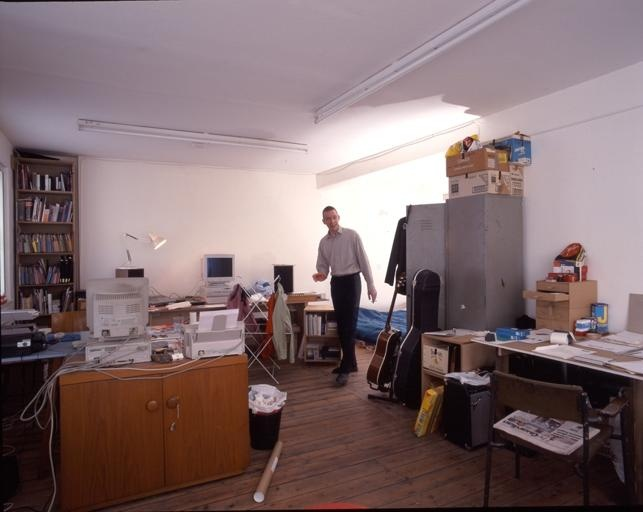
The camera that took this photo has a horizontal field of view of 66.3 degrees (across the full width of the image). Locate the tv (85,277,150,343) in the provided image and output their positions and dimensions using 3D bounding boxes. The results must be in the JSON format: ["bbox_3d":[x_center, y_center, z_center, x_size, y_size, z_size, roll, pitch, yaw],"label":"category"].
[{"bbox_3d":[-1.534,0.385,3.710,0.423,0.427,0.236,-1,5,-29],"label":"tv"}]

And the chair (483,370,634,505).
[{"bbox_3d":[1.665,1.239,3.512,1.040,0.942,0.878,1,9,8],"label":"chair"}]

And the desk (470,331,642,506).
[{"bbox_3d":[1.647,1.040,3.638,1.097,1.456,0.958,1,4,44],"label":"desk"}]

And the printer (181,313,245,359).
[{"bbox_3d":[-0.813,0.603,3.723,0.374,0.300,0.367,-1,2,-20],"label":"printer"}]

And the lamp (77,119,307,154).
[{"bbox_3d":[-1.520,-1.447,5.997,2.621,0.313,0.467,-4,10,-22],"label":"lamp"}]

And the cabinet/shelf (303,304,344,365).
[{"bbox_3d":[-0.133,1.019,6.505,0.518,0.808,0.648,0,-2,-6],"label":"cabinet/shelf"}]

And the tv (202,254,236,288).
[{"bbox_3d":[-1.416,0.170,6.788,0.418,0.423,0.265,0,11,-13],"label":"tv"}]

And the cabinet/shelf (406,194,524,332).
[{"bbox_3d":[1.514,0.189,5.154,0.713,1.511,0.854,21,-25,-41],"label":"cabinet/shelf"}]

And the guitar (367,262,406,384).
[{"bbox_3d":[0.665,0.842,5.105,0.385,1.260,0.637,1,9,9],"label":"guitar"}]

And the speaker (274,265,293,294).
[{"bbox_3d":[-0.515,0.310,6.712,0.249,0.383,0.413,-2,9,-7],"label":"speaker"}]

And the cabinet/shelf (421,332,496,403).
[{"bbox_3d":[1.262,0.994,4.788,0.623,0.932,0.535,1,-1,-20],"label":"cabinet/shelf"}]

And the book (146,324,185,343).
[{"bbox_3d":[-1.345,0.664,4.259,0.200,0.096,0.269,0,0,-16],"label":"book"}]

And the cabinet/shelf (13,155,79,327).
[{"bbox_3d":[-3.659,-0.232,6.520,0.580,1.960,0.215,-14,35,-43],"label":"cabinet/shelf"}]

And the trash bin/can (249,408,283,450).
[{"bbox_3d":[-0.480,1.458,4.223,0.282,0.322,0.301,-1,-9,14],"label":"trash bin/can"}]

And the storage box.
[{"bbox_3d":[1.633,-0.862,4.961,0.553,0.728,0.763,-5,7,-31],"label":"storage box"}]

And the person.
[{"bbox_3d":[0.273,0.424,5.765,0.480,1.984,0.736,-4,9,-20],"label":"person"}]

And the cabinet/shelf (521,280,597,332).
[{"bbox_3d":[2.116,0.478,4.431,0.513,0.482,0.362,-3,3,-24],"label":"cabinet/shelf"}]
